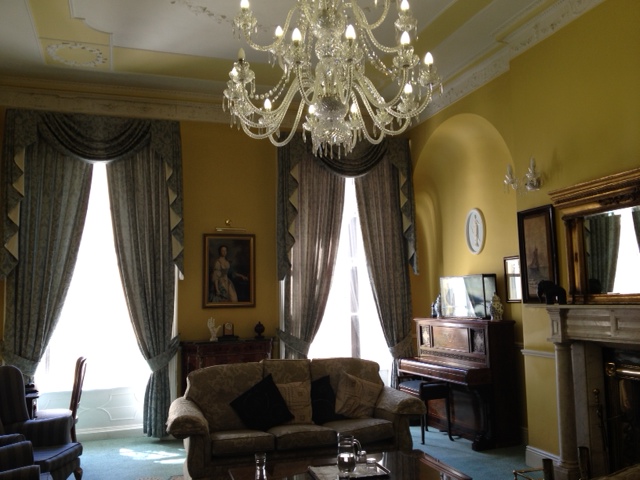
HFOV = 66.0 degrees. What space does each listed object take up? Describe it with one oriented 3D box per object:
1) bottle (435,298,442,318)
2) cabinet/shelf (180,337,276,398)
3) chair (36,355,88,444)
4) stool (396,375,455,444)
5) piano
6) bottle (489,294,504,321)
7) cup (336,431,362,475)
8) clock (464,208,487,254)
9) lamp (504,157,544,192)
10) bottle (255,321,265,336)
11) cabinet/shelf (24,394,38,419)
[{"bbox_3d":[1.873,1.060,7.786,0.066,0.312,0.155,1,-5,-12],"label":"bottle"},{"bbox_3d":[-1.177,1.617,6.296,0.736,0.823,0.326,0,0,-12],"label":"cabinet/shelf"},{"bbox_3d":[-3.174,2.022,6.048,0.500,1.316,0.479,6,-11,-40],"label":"chair"},{"bbox_3d":[1.696,2.521,7.254,0.391,0.817,1.029,-4,-20,9],"label":"stool"},{"bbox_3d":[1.950,1.996,7.283,0.805,1.734,1.692,4,-8,-21],"label":"piano"},{"bbox_3d":[2.470,0.932,6.867,0.162,0.356,0.282,-1,-6,13],"label":"bottle"},{"bbox_3d":[0.237,1.764,4.034,0.181,0.369,0.302,0,-5,3],"label":"cup"},{"bbox_3d":[2.442,-0.132,7.736,0.079,0.705,0.459,1,-6,-17],"label":"clock"},{"bbox_3d":[2.494,-0.782,5.954,0.166,0.402,0.413,5,-9,-27],"label":"lamp"},{"bbox_3d":[-0.909,1.342,7.515,0.158,0.260,0.175,2,1,2],"label":"bottle"},{"bbox_3d":[-3.502,2.020,6.031,0.188,0.252,0.221,-3,-6,13],"label":"cabinet/shelf"}]
